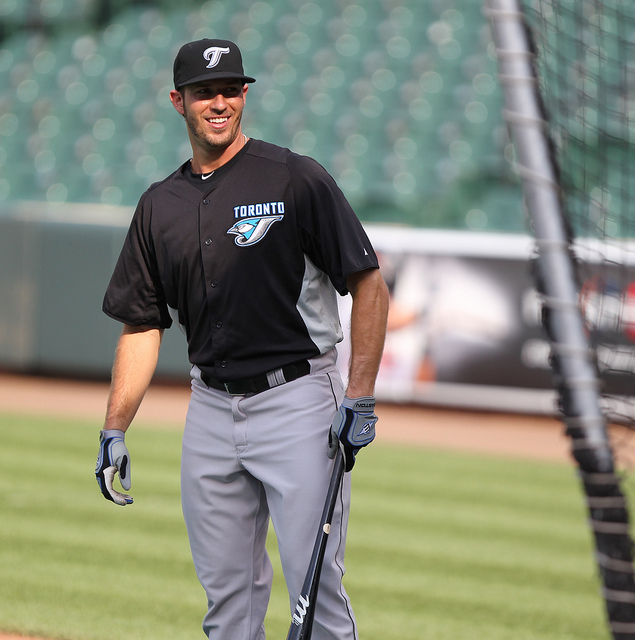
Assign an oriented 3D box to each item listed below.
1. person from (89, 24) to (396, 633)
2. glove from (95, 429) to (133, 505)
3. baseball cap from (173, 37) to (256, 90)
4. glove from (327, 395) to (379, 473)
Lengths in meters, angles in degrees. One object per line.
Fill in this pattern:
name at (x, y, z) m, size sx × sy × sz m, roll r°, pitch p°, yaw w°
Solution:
person at (-0.284, 0.069, 3.391) m, size 1.005 × 2.079 × 0.500 m, roll 6°, pitch 12°, yaw 26°
glove at (-0.748, 0.554, 3.534) m, size 0.120 × 0.317 × 0.249 m, roll -2°, pitch 11°, yaw -12°
baseball cap at (-0.382, -0.918, 3.428) m, size 0.274 × 0.184 × 0.340 m, roll -10°, pitch 17°, yaw -22°
glove at (0.120, 0.382, 3.283) m, size 0.165 × 0.255 × 0.155 m, roll 12°, pitch 3°, yaw 14°
